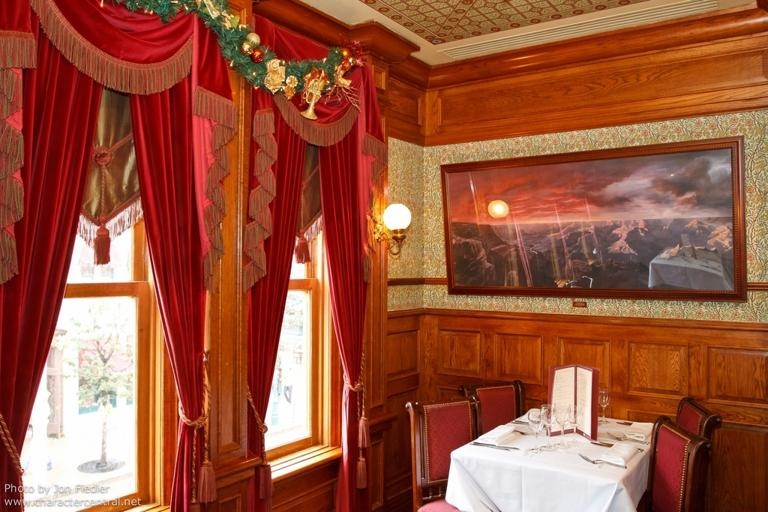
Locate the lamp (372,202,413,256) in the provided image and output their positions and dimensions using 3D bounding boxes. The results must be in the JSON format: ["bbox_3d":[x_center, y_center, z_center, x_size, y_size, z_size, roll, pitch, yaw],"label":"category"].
[{"bbox_3d":[0.053,-0.226,5.076,0.340,0.431,0.504,-3,-6,-4],"label":"lamp"}]

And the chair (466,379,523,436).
[{"bbox_3d":[0.936,1.254,4.750,0.368,0.575,0.427,8,-19,-28],"label":"chair"}]

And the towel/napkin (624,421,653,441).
[{"bbox_3d":[1.897,1.298,4.131,0.133,0.037,0.124,-2,0,-40],"label":"towel/napkin"}]

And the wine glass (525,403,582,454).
[{"bbox_3d":[1.191,1.225,3.976,0.321,0.334,0.323,-1,-16,-1],"label":"wine glass"}]
